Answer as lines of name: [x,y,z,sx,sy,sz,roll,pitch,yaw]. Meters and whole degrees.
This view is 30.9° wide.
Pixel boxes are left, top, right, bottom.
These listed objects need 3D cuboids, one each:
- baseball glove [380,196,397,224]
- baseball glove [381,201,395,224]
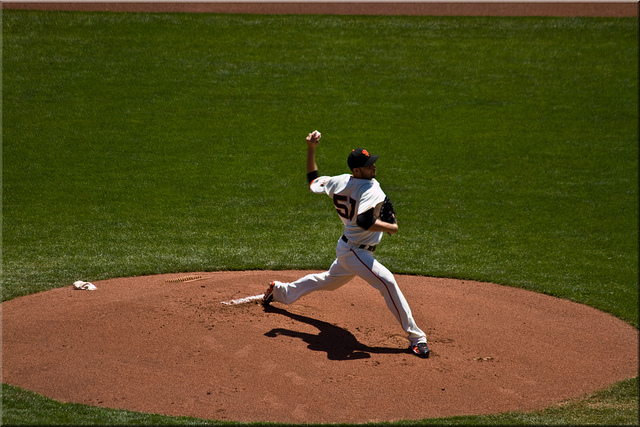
baseball glove: [1.742,-0.083,30.072,0.394,0.669,0.432,-6,8,-35]
baseball glove: [1.763,-0.033,29.938,0.348,0.563,0.326,2,18,10]
